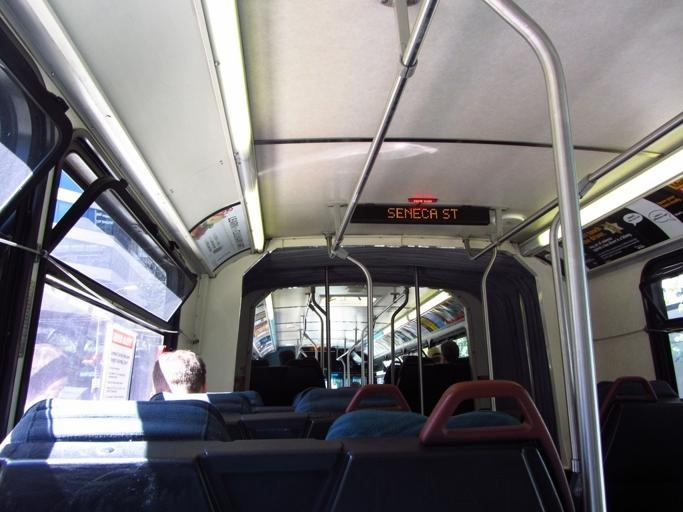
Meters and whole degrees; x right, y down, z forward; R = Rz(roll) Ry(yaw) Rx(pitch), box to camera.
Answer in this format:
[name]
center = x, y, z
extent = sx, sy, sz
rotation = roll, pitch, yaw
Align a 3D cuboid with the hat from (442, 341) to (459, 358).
[hat]
center = 1.734, 1.517, 6.868
extent = 0.221, 0.293, 0.289
rotation = 1, -19, 1
